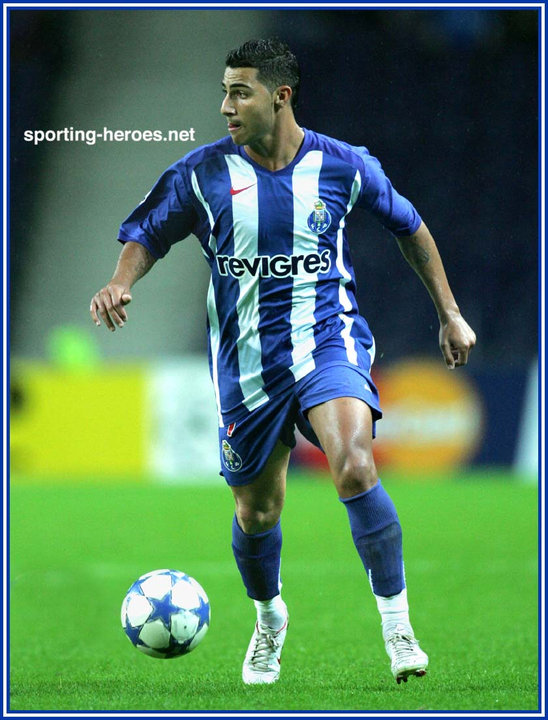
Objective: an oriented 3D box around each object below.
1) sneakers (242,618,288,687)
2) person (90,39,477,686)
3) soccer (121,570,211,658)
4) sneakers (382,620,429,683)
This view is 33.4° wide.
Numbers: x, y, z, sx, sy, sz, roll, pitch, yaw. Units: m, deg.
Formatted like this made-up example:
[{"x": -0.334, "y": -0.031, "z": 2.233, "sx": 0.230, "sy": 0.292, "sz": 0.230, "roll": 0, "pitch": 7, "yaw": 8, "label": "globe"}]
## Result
[{"x": -0.045, "y": 1.064, "z": 3.308, "sx": 0.074, "sy": 0.100, "sz": 0.245, "roll": 2, "pitch": 36, "yaw": 7, "label": "sneakers"}, {"x": 0.062, "y": 0.050, "z": 3.252, "sx": 1.193, "sy": 2.346, "sz": 0.760, "roll": -1, "pitch": 2, "yaw": 19, "label": "person"}, {"x": -0.360, "y": 0.860, "z": 3.092, "sx": 0.267, "sy": 0.292, "sz": 0.279, "roll": 0, "pitch": -5, "yaw": 0, "label": "soccer"}, {"x": 0.398, "y": 0.923, "z": 2.904, "sx": 0.107, "sy": 0.177, "sz": 0.312, "roll": -15, "pitch": -5, "yaw": -2, "label": "sneakers"}]
